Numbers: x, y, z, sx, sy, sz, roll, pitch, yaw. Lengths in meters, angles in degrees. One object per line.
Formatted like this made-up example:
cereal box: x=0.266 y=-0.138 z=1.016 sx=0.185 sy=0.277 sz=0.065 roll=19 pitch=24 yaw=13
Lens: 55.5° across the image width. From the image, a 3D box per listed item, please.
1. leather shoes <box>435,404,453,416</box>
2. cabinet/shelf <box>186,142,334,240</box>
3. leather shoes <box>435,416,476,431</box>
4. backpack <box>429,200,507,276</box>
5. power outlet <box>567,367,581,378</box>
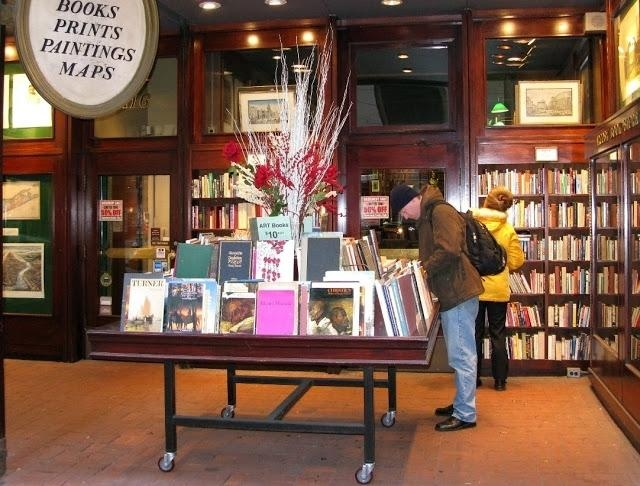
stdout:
leather shoes: x=1.068 y=1.432 z=5.236 sx=0.177 sy=0.074 sz=0.076 roll=4 pitch=-1 yaw=0
cabinet/shelf: x=-0.326 y=-0.468 z=4.802 sx=1.065 sy=0.731 sz=0.954 roll=3 pitch=1 yaw=8
leather shoes: x=1.080 y=1.431 z=4.916 sx=0.318 sy=0.154 sz=0.120 roll=4 pitch=-6 yaw=-5
backpack: x=1.114 y=-0.023 z=5.096 sx=0.709 sy=0.685 sz=0.457 roll=-3 pitch=0 yaw=2
power outlet: x=2.605 y=1.325 z=6.231 sx=0.165 sy=0.116 sz=0.092 roll=-2 pitch=-9 yaw=5
